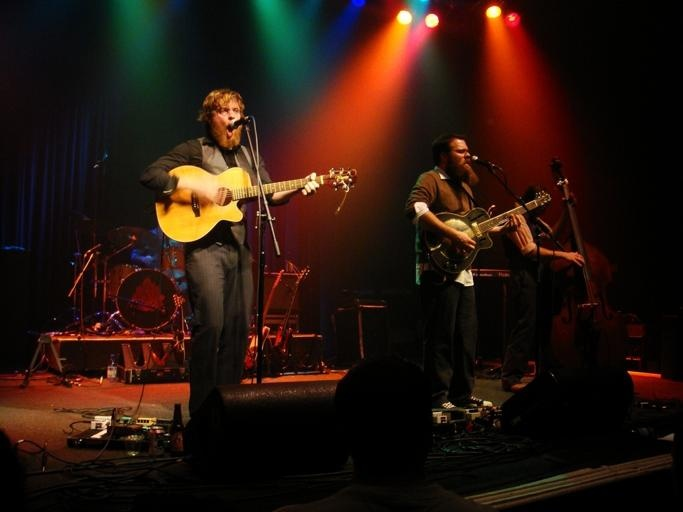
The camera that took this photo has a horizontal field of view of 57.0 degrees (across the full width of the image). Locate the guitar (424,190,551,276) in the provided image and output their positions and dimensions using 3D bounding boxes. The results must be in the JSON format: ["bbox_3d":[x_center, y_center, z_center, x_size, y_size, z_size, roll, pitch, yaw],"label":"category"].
[{"bbox_3d":[1.388,-0.189,6.300,1.222,0.876,0.324,7,-16,-24],"label":"guitar"}]

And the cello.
[{"bbox_3d":[2.603,0.179,6.825,0.786,2.019,0.824,-1,-14,9],"label":"cello"}]

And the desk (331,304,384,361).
[{"bbox_3d":[0.231,1.123,9.211,0.826,0.908,0.445,-9,-17,33],"label":"desk"}]

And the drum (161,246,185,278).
[{"bbox_3d":[-2.436,0.077,9.168,0.440,0.460,0.458,3,4,37],"label":"drum"}]

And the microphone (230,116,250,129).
[{"bbox_3d":[-0.873,-1.159,5.457,0.074,0.079,0.268,-16,5,23],"label":"microphone"}]

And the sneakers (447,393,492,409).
[{"bbox_3d":[1.179,1.384,5.930,0.454,0.201,0.163,-4,-9,16],"label":"sneakers"}]

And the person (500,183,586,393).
[{"bbox_3d":[2.145,0.407,7.092,0.423,2.350,0.903,-2,-6,43],"label":"person"}]

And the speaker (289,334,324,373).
[{"bbox_3d":[-0.508,1.452,9.087,0.605,0.659,0.456,5,-18,-15],"label":"speaker"}]

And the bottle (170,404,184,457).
[{"bbox_3d":[-1.264,1.363,4.937,0.079,0.391,0.163,11,-18,-36],"label":"bottle"}]

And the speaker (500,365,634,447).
[{"bbox_3d":[1.857,1.121,5.323,0.775,0.548,0.591,2,-7,-19],"label":"speaker"}]

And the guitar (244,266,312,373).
[{"bbox_3d":[-0.904,0.897,9.053,0.698,1.467,0.372,-3,-17,25],"label":"guitar"}]

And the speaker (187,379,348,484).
[{"bbox_3d":[-0.548,1.068,4.662,0.930,0.658,0.690,4,-8,-20],"label":"speaker"}]
